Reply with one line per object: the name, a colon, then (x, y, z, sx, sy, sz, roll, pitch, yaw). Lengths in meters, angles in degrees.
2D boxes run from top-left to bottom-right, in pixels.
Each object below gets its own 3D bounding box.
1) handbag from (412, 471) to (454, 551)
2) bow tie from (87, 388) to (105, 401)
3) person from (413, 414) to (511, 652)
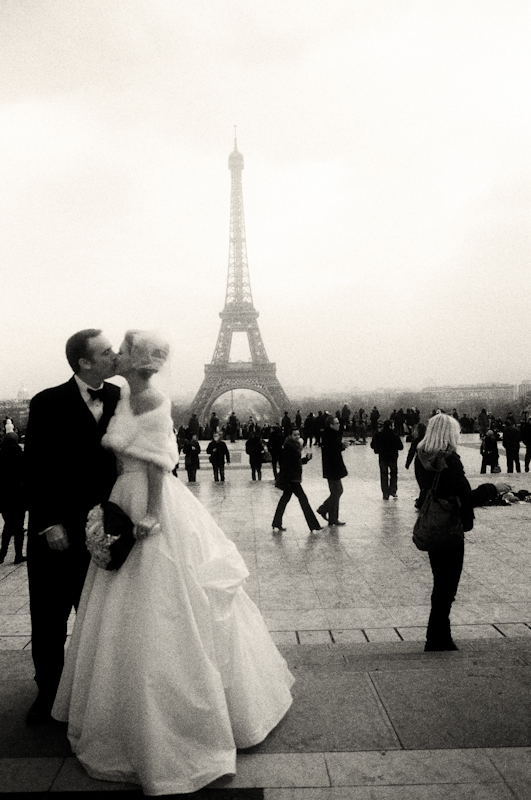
handbag: (1.079, 0.739, 4.414, 0.275, 0.478, 0.172, -3, 0, 36)
bow tie: (-0.911, -0.025, 3.594, 0.057, 0.069, 0.025, 1, 7, -13)
person: (1.192, 0.868, 4.421, 0.451, 1.517, 0.405, -3, 0, 15)
